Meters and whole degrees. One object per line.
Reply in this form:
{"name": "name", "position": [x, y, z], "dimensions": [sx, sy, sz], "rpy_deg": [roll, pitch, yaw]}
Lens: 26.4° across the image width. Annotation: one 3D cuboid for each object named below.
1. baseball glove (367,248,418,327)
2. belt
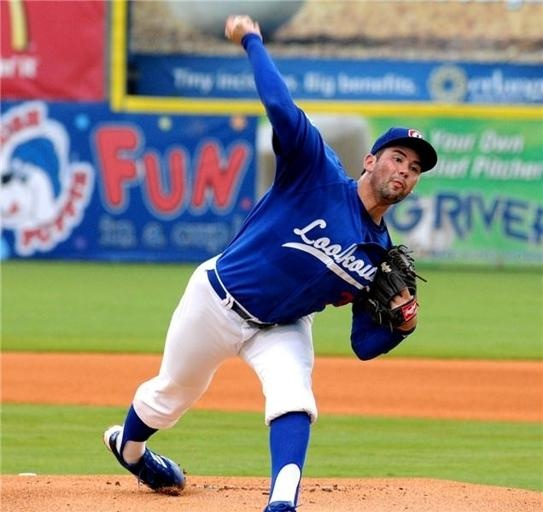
{"name": "baseball glove", "position": [0.885, 0.211, 8.241], "dimensions": [0.354, 0.532, 0.256], "rpy_deg": [-5, 4, -36]}
{"name": "belt", "position": [-0.258, 0.297, 8.157], "dimensions": [0.423, 0.098, 0.382], "rpy_deg": [47, 3, -4]}
